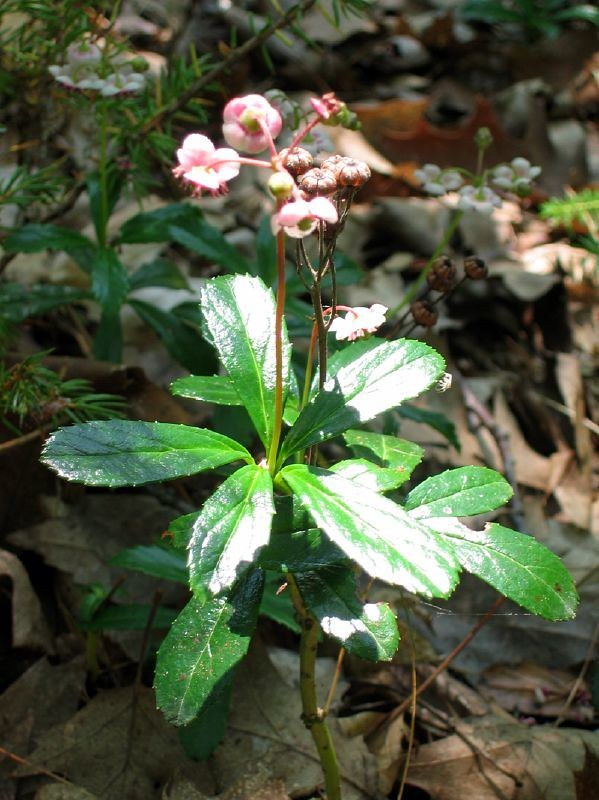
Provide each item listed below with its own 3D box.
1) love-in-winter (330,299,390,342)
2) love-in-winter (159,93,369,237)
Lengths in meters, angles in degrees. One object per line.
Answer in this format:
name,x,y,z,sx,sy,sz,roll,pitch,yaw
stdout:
love-in-winter,0.169,-0.214,2.108,0.154,0.055,0.126,-2,43,4
love-in-winter,-0.066,-0.563,1.772,0.453,0.318,0.500,5,34,3
